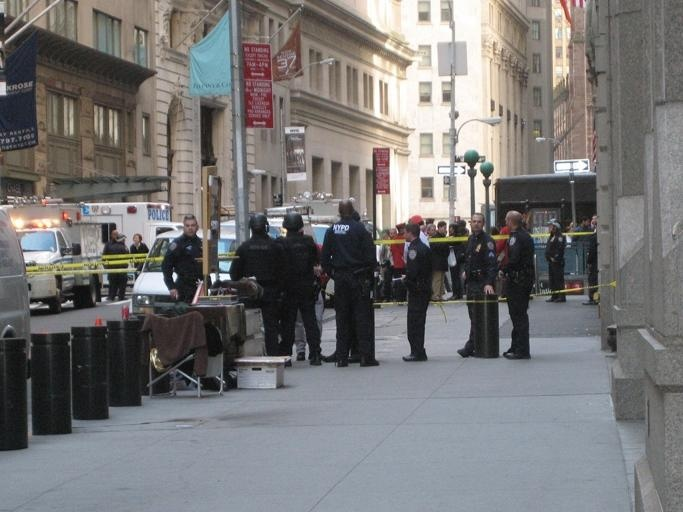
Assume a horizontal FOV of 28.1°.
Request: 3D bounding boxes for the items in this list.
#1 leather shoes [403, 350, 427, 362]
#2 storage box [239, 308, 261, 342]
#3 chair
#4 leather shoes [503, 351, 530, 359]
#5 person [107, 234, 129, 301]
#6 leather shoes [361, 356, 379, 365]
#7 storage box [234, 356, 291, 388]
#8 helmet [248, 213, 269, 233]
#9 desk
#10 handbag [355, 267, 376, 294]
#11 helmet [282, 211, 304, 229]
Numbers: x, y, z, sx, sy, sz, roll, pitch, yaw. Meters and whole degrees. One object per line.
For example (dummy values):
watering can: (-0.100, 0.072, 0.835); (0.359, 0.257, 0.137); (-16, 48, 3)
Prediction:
leather shoes: (1.111, 1.497, 20.729); (0.358, 0.170, 0.149); (1, 0, 6)
storage box: (-1.267, 0.916, 19.030); (0.292, 0.409, 0.531); (-2, 0, 4)
chair: (-2.153, 1.330, 17.447); (1.060, 1.052, 1.041); (4, -20, -20)
leather shoes: (2.620, 1.482, 20.431); (0.368, 0.173, 0.138); (6, -4, 15)
person: (-6.022, 0.179, 36.480); (0.641, 1.983, 0.623); (-8, 31, -25)
leather shoes: (0.416, 1.533, 20.233); (0.268, 0.199, 0.099); (-5, 6, -25)
storage box: (-1.154, 1.524, 18.221); (0.557, 0.350, 0.610); (1, 6, 0)
helmet: (-1.179, -0.479, 19.491); (0.210, 0.289, 0.272); (1, 19, 12)
desk: (-1.723, 1.052, 18.142); (1.106, 0.944, 1.175); (1, 6, 16)
handbag: (0.349, 0.350, 20.149); (0.268, 0.397, 0.133); (0, -4, -22)
helmet: (-0.725, -0.539, 20.384); (0.220, 0.260, 0.267); (1, 31, 0)
